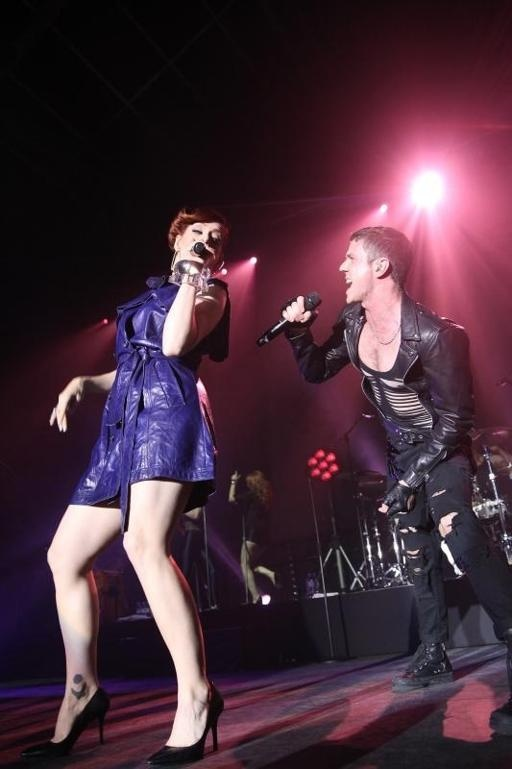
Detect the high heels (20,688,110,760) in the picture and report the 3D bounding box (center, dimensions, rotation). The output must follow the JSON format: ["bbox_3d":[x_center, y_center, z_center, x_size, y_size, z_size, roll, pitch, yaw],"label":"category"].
[{"bbox_3d":[-0.577,1.013,1.765,0.333,0.199,0.120,-4,-22,-9],"label":"high heels"}]

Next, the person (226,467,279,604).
[{"bbox_3d":[-0.066,1.847,7.104,0.562,1.595,0.610,-13,-19,43],"label":"person"}]
